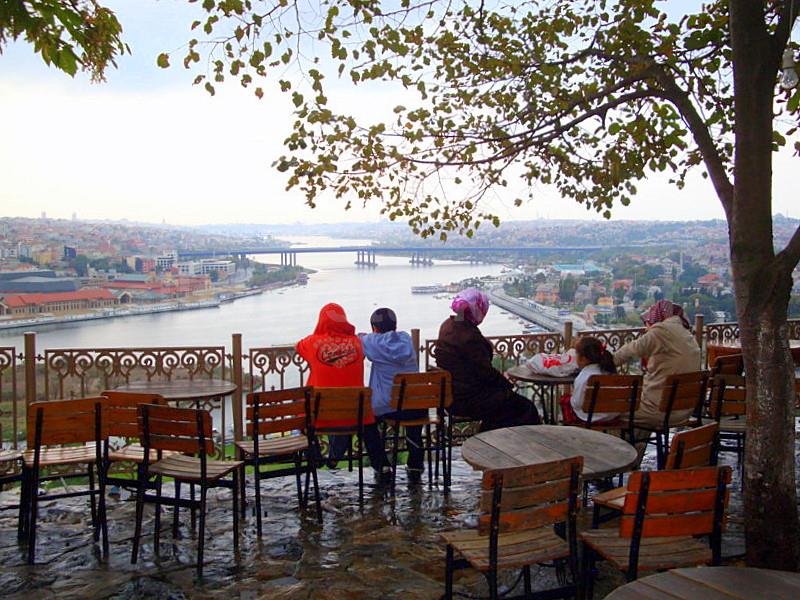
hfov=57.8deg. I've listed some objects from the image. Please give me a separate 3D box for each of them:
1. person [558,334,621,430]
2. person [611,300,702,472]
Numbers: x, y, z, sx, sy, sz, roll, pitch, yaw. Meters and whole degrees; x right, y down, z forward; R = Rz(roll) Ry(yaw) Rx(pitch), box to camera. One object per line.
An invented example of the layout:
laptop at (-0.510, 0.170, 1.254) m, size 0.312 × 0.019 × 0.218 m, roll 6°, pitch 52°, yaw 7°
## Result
person at (1.581, 0.695, 6.076) m, size 0.471 × 0.758 × 0.578 m, roll -4°, pitch 11°, yaw -21°
person at (2.228, 0.595, 6.308) m, size 0.603 × 1.201 × 0.751 m, roll 3°, pitch 4°, yaw -30°
